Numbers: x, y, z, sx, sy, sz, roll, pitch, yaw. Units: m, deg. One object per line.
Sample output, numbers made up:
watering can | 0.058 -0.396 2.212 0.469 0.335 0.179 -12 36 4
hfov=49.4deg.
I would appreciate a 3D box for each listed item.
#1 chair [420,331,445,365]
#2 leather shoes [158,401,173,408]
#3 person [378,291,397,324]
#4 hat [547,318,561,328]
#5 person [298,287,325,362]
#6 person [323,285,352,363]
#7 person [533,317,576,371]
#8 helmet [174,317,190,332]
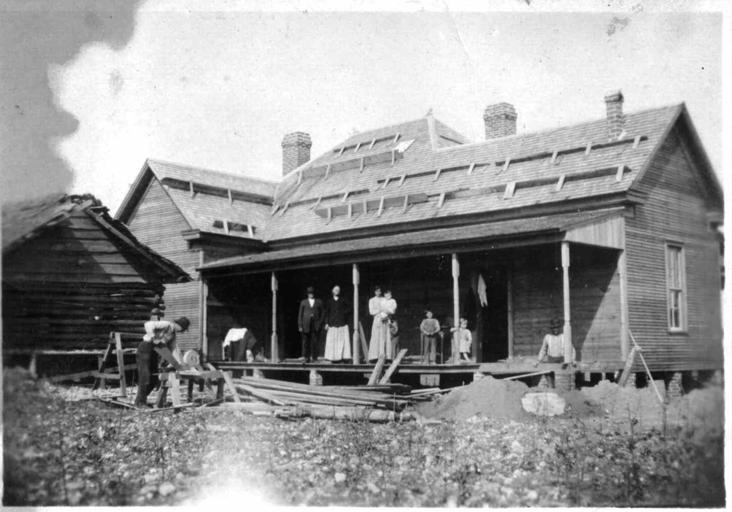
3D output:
chair | 1.802 2.299 22.291 0.592 1.379 0.407 3 10 38
leather shoes | -4.726 3.505 18.867 0.136 0.150 0.147 -4 -7 44
person | 0.587 1.376 22.538 0.526 0.964 0.603 -7 -16 38
hat | 5.161 1.813 21.732 0.216 0.291 0.301 -5 -21 7
person | -1.654 2.112 24.388 0.744 2.341 1.000 4 -12 -5
person | -0.751 2.125 23.571 0.804 2.024 0.628 3 -12 -2
person | 5.058 2.322 20.815 0.937 1.286 1.823 -3 -14 23
helmet | -4.317 1.583 18.766 0.320 0.277 0.577 6 -14 -16
